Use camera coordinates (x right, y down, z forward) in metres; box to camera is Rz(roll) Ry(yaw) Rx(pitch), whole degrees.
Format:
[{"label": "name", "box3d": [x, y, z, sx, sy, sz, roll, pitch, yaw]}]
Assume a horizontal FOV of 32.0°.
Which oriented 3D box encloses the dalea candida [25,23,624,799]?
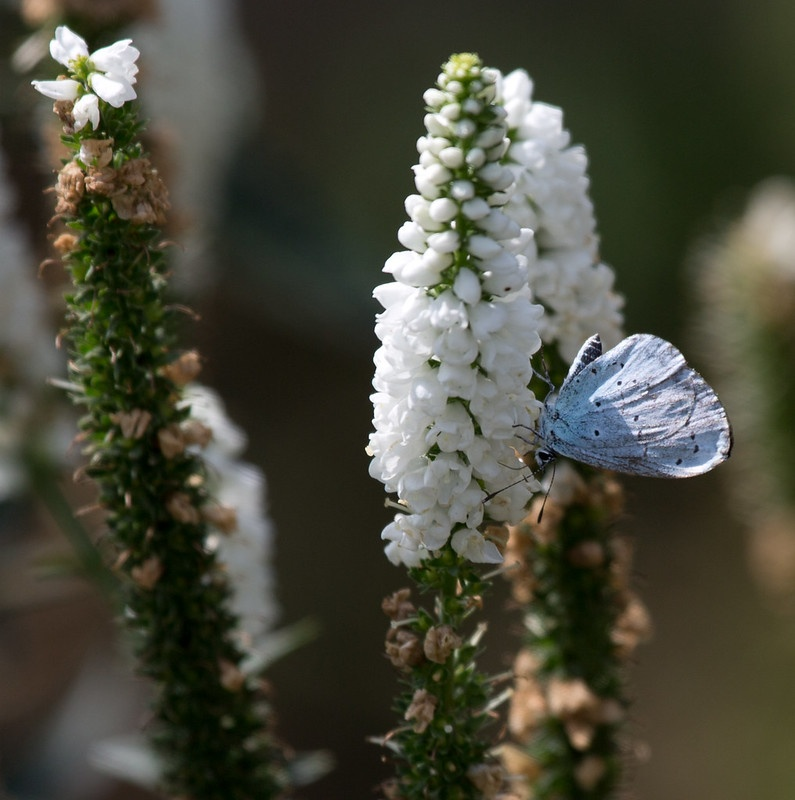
[{"label": "dalea candida", "box3d": [-0.171, 0.168, 2.942, 0.830, 1.680, 1.187, -1, 14, 37]}]
